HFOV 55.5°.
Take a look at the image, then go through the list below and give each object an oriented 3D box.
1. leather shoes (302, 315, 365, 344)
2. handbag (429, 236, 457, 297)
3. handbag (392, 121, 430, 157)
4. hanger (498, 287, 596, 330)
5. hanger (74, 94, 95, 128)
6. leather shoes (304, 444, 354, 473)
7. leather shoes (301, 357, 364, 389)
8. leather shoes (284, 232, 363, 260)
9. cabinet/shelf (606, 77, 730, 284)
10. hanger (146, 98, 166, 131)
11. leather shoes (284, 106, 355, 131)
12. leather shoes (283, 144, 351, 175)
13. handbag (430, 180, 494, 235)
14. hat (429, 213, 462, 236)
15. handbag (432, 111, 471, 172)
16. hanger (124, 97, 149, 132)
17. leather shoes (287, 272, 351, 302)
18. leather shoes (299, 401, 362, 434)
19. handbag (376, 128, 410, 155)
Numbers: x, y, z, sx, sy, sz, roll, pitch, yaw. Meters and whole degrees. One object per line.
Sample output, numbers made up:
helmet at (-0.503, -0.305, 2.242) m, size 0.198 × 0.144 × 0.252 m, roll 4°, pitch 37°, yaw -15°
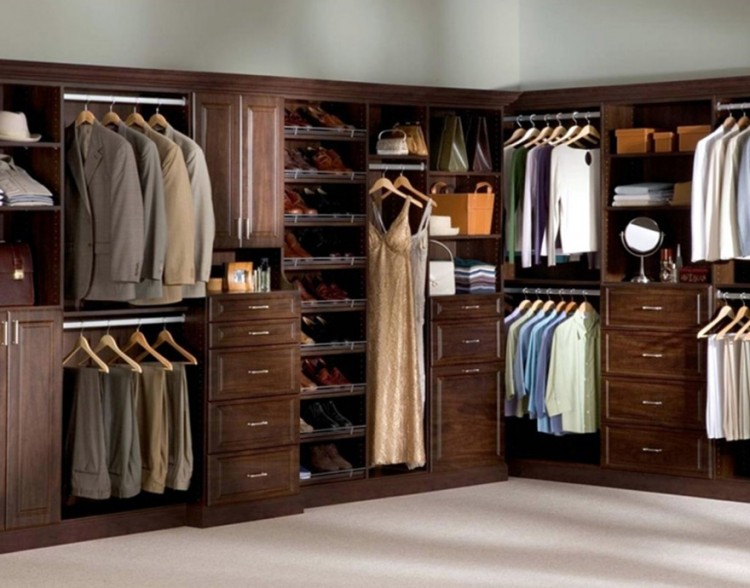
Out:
leather shoes at (-0.285, 0.196, 4.727) m, size 0.213 × 0.098 × 0.292 m, roll -4°, pitch 11°, yaw -34°
handbag at (0.471, -0.187, 4.950) m, size 0.179 × 0.385 × 0.446 m, roll -1°, pitch 2°, yaw 7°
handbag at (0.270, -1.011, 4.799) m, size 0.189 × 0.237 × 0.091 m, roll -5°, pitch -4°, yaw -4°
hanger at (1.288, 0.085, 5.214) m, size 0.677 × 0.268 × 0.500 m, roll 0°, pitch 2°, yaw 14°
hanger at (-1.616, -1.010, 3.962) m, size 0.016 × 0.183 × 0.241 m, roll -7°, pitch 13°, yaw -40°
leather shoes at (-0.304, 1.059, 4.634) m, size 0.229 × 0.146 × 0.225 m, roll -2°, pitch 2°, yaw -27°
leather shoes at (-0.322, 0.516, 4.672) m, size 0.326 × 0.099 × 0.181 m, roll 4°, pitch 2°, yaw 42°
leather shoes at (-0.285, -0.301, 4.662) m, size 0.604 × 0.223 × 0.177 m, roll -2°, pitch -1°, yaw -4°
cabinet/shelf at (1.981, -0.745, 4.855) m, size 0.806 × 1.302 × 0.501 m, roll 0°, pitch 2°, yaw 25°
hanger at (-1.256, -1.029, 4.109) m, size 0.209 × 0.211 × 0.024 m, roll 12°, pitch 18°, yaw 39°
leather shoes at (-0.371, -1.109, 4.560) m, size 0.496 × 0.137 × 0.167 m, roll 0°, pitch 6°, yaw -3°
leather shoes at (-0.398, -0.848, 4.562) m, size 0.229 × 0.096 × 0.312 m, roll -1°, pitch 5°, yaw -27°
handbag at (0.638, -0.556, 5.007) m, size 0.413 × 0.377 × 0.407 m, roll 1°, pitch 0°, yaw -33°
hat at (0.456, -0.464, 4.816) m, size 0.120 × 0.088 × 0.188 m, roll -1°, pitch -2°, yaw -3°
handbag at (0.540, -1.053, 5.008) m, size 0.210 × 0.458 × 0.496 m, roll -2°, pitch 2°, yaw -7°
hanger at (-1.370, -1.028, 4.096) m, size 0.041 × 0.164 × 0.270 m, roll -9°, pitch 16°, yaw -38°
leather shoes at (-0.361, -0.091, 4.654) m, size 0.327 × 0.090 × 0.189 m, roll 23°, pitch 20°, yaw 23°
leather shoes at (-0.308, 0.797, 4.646) m, size 0.287 × 0.098 × 0.173 m, roll -1°, pitch -1°, yaw 38°
handbag at (0.124, -0.988, 4.675) m, size 0.227 × 0.183 × 0.126 m, roll 1°, pitch 0°, yaw 21°
